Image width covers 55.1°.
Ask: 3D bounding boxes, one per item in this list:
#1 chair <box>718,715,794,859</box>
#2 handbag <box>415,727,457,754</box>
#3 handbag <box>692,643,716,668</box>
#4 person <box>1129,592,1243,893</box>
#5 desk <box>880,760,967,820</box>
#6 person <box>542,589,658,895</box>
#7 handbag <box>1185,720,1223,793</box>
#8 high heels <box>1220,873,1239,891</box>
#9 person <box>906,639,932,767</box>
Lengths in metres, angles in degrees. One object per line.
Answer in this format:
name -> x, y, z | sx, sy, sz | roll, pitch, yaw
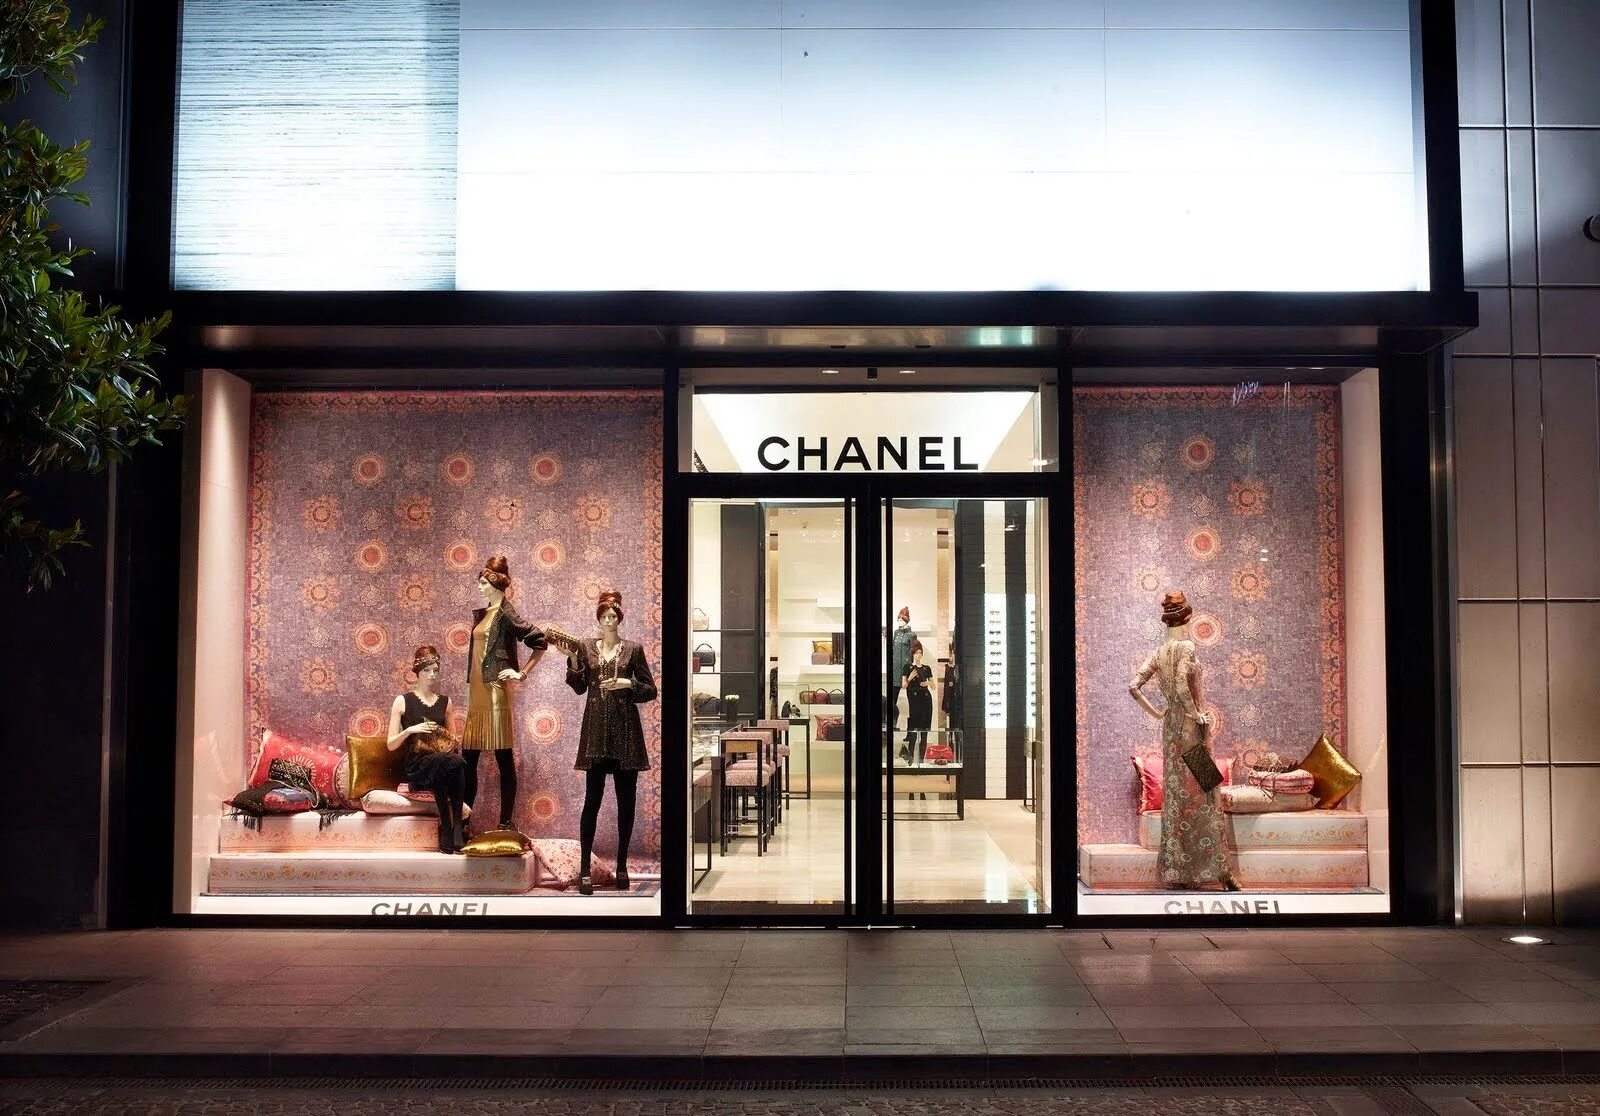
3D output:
chair -> -0.320, 1.534, 10.453 | 0.455, 0.836, 0.261 | -1, 7, -2
handbag -> -2.522, 1.258, 10.656 | 0.194, 0.183, 0.050 | 19, -20, -19
handbag -> -0.646, 0.652, 10.587 | 0.195, 0.186, 0.143 | 1, 7, 0
person -> 2.620, 1.247, 10.512 | 0.486, 1.947, 0.704 | -5, 9, -33
desk -> 0.859, 1.524, 10.416 | 0.653, 0.409, 0.343 | 0, -5, -2
person -> -1.306, 1.238, 10.648 | 0.637, 1.978, 0.550 | -2, 7, -10
handbag -> 2.724, 1.333, 10.430 | 0.241, 0.478, 0.173 | -3, 8, -22
high heels -> 2.926, 2.202, 10.508 | 0.152, 0.141, 0.073 | -1, -1, -7
person -> 0.799, 1.014, 10.498 | 0.245, 0.797, 0.213 | -4, -9, 21
